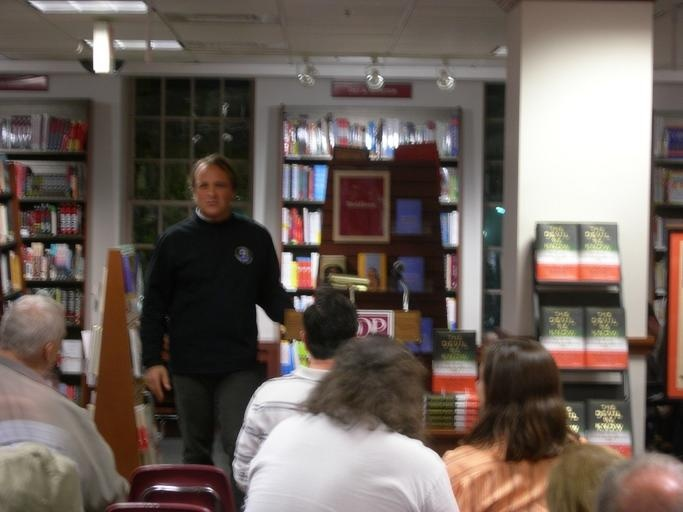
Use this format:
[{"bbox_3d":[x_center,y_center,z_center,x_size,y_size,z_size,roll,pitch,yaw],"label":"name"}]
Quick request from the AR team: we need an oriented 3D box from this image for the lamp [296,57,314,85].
[{"bbox_3d":[-0.358,-1.806,7.083,0.167,0.163,0.386,-3,32,0],"label":"lamp"}]

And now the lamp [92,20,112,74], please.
[{"bbox_3d":[-1.940,-1.712,5.978,0.148,0.306,0.326,0,0,-18],"label":"lamp"}]

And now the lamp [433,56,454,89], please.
[{"bbox_3d":[0.973,-1.746,6.901,0.148,0.301,0.582,0,0,8],"label":"lamp"}]

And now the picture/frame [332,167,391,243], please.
[{"bbox_3d":[0.139,-0.324,4.898,0.428,0.601,0.058,2,-5,-2],"label":"picture/frame"}]
